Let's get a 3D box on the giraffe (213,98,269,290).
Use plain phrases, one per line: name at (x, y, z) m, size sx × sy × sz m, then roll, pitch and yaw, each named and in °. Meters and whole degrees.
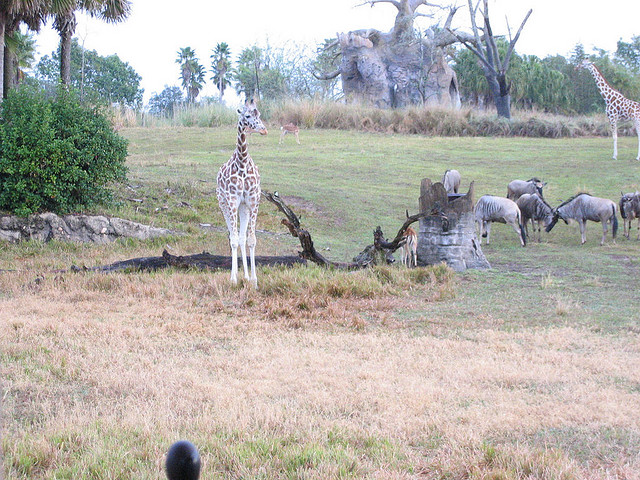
giraffe at (-2.177, -1.170, 27.794) m, size 1.146 × 5.095 × 3.756 m, roll 0°, pitch -8°, yaw -10°
